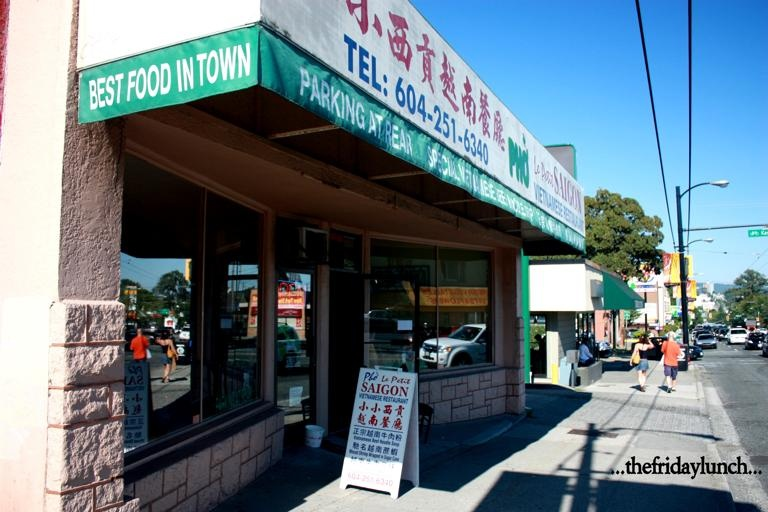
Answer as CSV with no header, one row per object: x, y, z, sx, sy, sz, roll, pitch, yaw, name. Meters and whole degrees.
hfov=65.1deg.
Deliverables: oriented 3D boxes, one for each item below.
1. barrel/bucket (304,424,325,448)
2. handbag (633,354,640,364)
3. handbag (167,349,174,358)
-1.156,2.953,9.900,0.284,0.247,0.317,1,-4,-5,barrel/bucket
8.308,3.372,19.708,0.185,0.264,0.351,-15,4,28,handbag
-2.503,1.138,7.008,0.047,0.117,0.105,-3,-5,10,handbag
